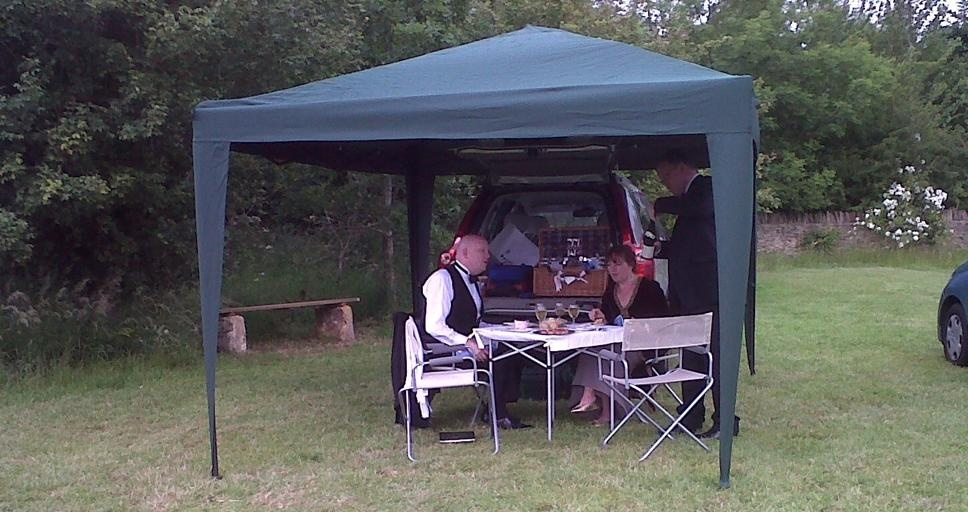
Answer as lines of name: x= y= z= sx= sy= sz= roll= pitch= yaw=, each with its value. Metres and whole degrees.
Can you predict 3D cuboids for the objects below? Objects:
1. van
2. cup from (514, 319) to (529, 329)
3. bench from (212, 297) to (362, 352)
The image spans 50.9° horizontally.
van: x=1.672 y=-0.711 z=23.684 sx=3.193 sy=3.126 sz=5.202 roll=-1 pitch=26 yaw=11
cup: x=0.792 y=1.474 z=22.118 sx=0.226 sy=0.154 sz=0.175 roll=2 pitch=0 yaw=3
bench: x=-5.313 y=1.799 z=27.972 sx=3.575 sy=1.440 sz=2.447 roll=1 pitch=4 yaw=-8
